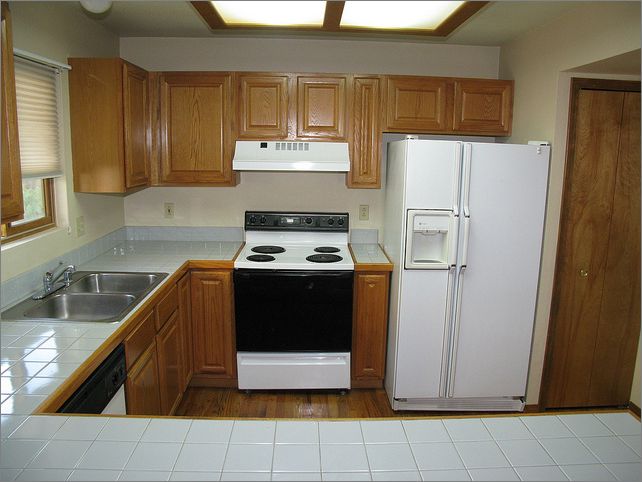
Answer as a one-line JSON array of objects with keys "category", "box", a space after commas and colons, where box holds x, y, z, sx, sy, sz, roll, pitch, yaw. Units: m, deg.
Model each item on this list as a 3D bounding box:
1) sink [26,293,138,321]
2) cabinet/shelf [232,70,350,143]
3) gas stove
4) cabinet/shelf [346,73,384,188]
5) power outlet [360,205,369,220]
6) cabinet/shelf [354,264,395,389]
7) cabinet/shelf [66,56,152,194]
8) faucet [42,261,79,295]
[{"category": "sink", "box": [-1.413, 0.398, 2.699, 0.318, 0.132, 0.256, 3, 9, -5]}, {"category": "cabinet/shelf", "box": [-0.222, -1.049, 3.747, 0.905, 0.553, 0.457, 1, 8, 1]}, {"category": "gas stove", "box": [-0.203, 0.457, 3.774, 1.117, 1.295, 1.120, -5, 13, -25]}, {"category": "cabinet/shelf", "box": [0.347, -0.893, 3.689, 0.262, 0.861, 0.282, -6, 27, -8]}, {"category": "power outlet", "box": [0.378, -0.261, 4.015, 0.120, 0.170, 0.019, 1, 7, -3]}, {"category": "cabinet/shelf", "box": [0.478, 0.709, 3.692, 0.278, 0.914, 0.445, 0, -9, 27]}, {"category": "cabinet/shelf", "box": [-1.436, -0.804, 3.263, 0.322, 0.893, 0.595, 7, 13, 28]}, {"category": "faucet", "box": [-1.615, 0.221, 2.785, 0.080, 0.112, 0.266, 0, 4, 16]}]
